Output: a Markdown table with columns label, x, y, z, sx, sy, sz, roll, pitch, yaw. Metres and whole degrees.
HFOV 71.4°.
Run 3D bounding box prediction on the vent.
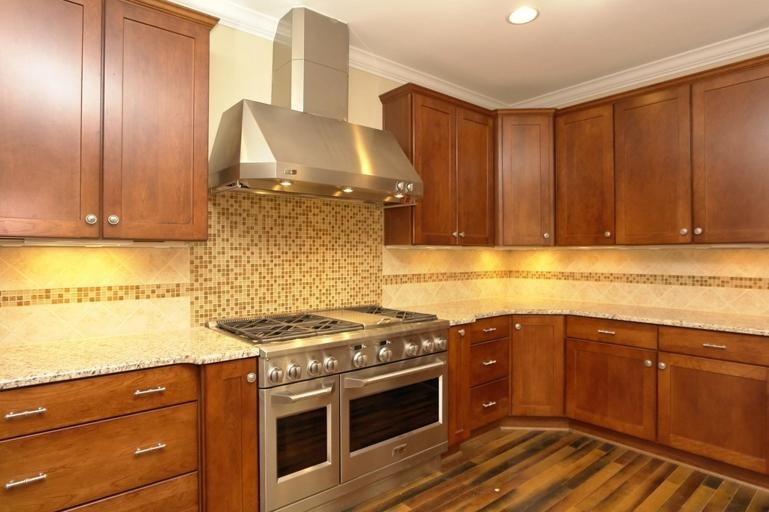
| label | x | y | z | sx | sy | sz | roll | pitch | yaw |
| --- | --- | --- | --- | --- | --- | --- | --- | --- | --- |
| vent | -0.551 | -1.060 | 3.890 | 1.543 | 1.305 | 0.856 | 2 | -4 | -37 |

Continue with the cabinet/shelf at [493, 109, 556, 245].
| label | x | y | z | sx | sy | sz | roll | pitch | yaw |
| --- | --- | --- | --- | --- | --- | --- | --- | --- | --- |
| cabinet/shelf | 1.285 | -0.710 | 4.973 | 0.595 | 1.258 | 0.175 | -5 | 9 | -11 |

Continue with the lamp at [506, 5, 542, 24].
| label | x | y | z | sx | sy | sz | roll | pitch | yaw |
| --- | --- | --- | --- | --- | --- | --- | --- | --- | --- |
| lamp | 1.007 | -1.760 | 3.920 | 0.221 | 0.065 | 0.163 | -3 | 1 | 14 |
